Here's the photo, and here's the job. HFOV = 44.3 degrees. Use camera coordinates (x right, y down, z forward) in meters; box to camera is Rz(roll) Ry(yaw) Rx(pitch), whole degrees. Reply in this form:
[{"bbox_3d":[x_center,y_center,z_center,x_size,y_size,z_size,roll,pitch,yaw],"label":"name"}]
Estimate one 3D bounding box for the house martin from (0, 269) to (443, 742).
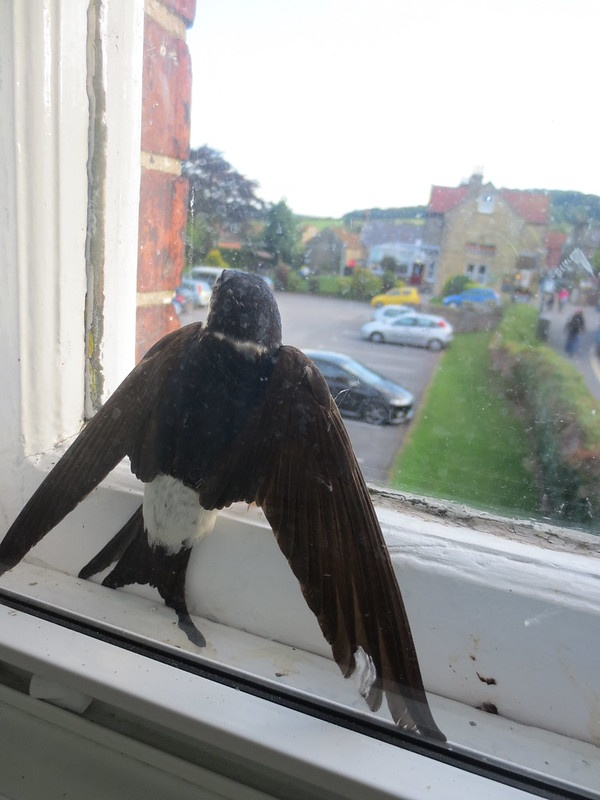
[{"bbox_3d":[-0.052,0.062,0.675,0.427,0.381,0.187,14,14,11],"label":"house martin"}]
